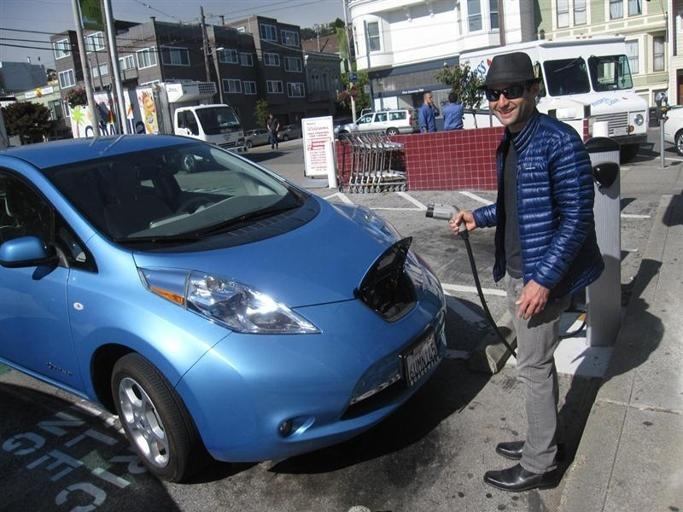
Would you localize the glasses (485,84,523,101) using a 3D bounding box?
[{"bbox_3d":[0.884,-0.885,2.837,0.214,0.075,0.080,9,23,44],"label":"glasses"}]

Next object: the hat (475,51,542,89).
[{"bbox_3d":[0.939,-1.025,2.870,0.208,0.102,0.246,1,22,33],"label":"hat"}]

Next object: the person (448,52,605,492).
[{"bbox_3d":[1.120,0.136,2.959,0.584,2.474,0.700,1,18,26],"label":"person"}]

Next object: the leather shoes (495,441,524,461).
[{"bbox_3d":[1.078,1.226,3.309,0.193,0.086,0.092,18,25,-8],"label":"leather shoes"}]

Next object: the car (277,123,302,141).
[{"bbox_3d":[-4.477,-10.480,44.097,1.262,1.190,2.860,5,16,31],"label":"car"}]
